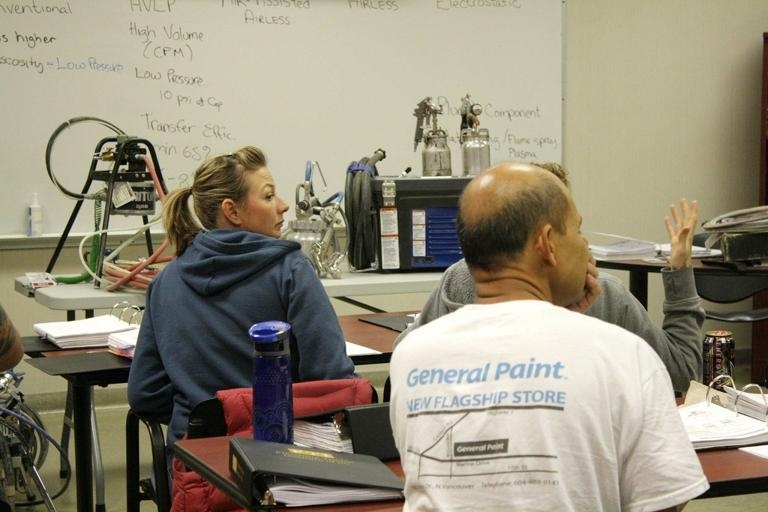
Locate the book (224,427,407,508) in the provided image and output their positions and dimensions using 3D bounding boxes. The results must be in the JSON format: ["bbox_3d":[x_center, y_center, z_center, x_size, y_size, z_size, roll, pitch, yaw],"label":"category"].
[{"bbox_3d":[-0.185,0.563,2.037,0.455,0.152,0.185,-1,6,-14],"label":"book"}]

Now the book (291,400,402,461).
[{"bbox_3d":[-0.111,0.471,2.247,0.184,0.099,0.242,-2,5,-38],"label":"book"}]

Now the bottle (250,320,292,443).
[{"bbox_3d":[-0.325,0.362,2.188,0.118,0.341,0.149,-1,7,-9],"label":"bottle"}]

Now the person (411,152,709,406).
[{"bbox_3d":[0.592,0.086,2.856,0.805,1.179,0.793,0,3,-3],"label":"person"}]

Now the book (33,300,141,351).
[{"bbox_3d":[-1.282,0.323,3.347,0.342,0.113,0.326,0,4,-36],"label":"book"}]
